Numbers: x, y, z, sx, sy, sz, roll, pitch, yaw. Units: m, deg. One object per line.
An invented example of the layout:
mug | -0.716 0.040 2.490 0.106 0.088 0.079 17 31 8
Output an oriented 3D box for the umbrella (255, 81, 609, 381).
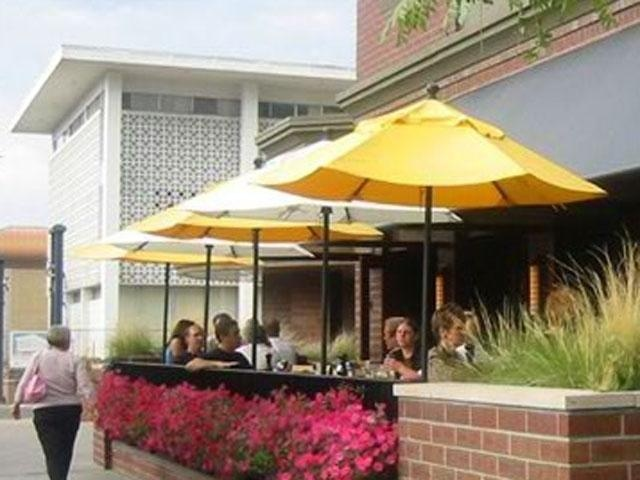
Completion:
umbrella | 1.110 -0.316 9.359 2.786 2.618 2.969 2 -4 13

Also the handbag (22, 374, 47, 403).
handbag | -3.111 1.677 10.327 0.223 0.461 0.427 3 -12 -30
